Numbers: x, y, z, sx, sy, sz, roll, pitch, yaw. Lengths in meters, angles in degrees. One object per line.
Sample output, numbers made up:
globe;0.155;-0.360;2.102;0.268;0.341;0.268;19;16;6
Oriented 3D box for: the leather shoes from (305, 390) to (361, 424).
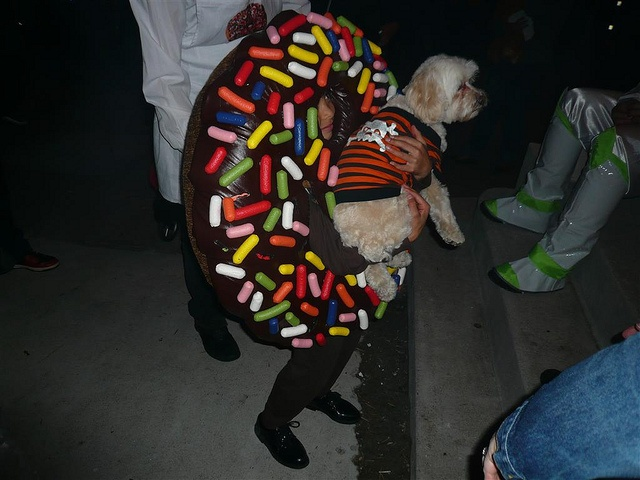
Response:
leather shoes;0.128;1.168;3.264;0.441;0.190;0.170;19;35;-2
